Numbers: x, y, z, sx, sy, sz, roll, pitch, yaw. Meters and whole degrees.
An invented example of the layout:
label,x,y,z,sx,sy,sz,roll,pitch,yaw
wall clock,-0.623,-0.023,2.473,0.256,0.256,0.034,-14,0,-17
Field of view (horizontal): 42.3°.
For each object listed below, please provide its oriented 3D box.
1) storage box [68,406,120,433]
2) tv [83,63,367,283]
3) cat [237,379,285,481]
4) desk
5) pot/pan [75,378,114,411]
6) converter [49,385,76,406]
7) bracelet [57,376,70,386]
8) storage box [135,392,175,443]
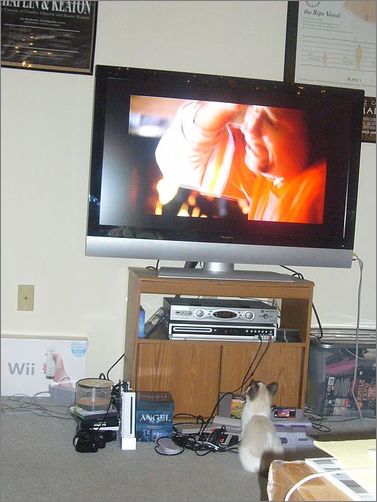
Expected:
label,x,y,z,sx,sy,sz,roll,pitch,yaw
storage box,-0.335,0.601,1.712,0.184,0.067,0.106,4,2,-1
tv,0.120,-0.315,2.012,1.006,0.688,0.263,5,0,-6
cat,0.222,0.566,1.567,0.112,0.300,0.152,0,-31,4
desk,0.120,0.388,1.923,0.645,0.543,0.246,2,3,-5
pot/pan,-0.352,0.533,1.803,0.113,0.066,0.111,3,0,12
converter,-0.546,0.618,2.133,0.122,0.064,0.083,5,8,9
bracelet,-0.543,0.567,2.120,0.069,0.024,0.023,1,-1,7
storage box,-0.126,0.608,1.801,0.143,0.144,0.161,4,2,-2
